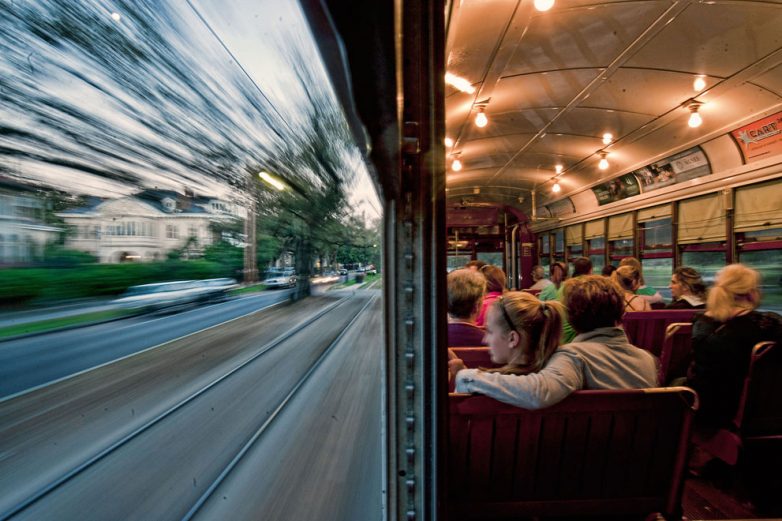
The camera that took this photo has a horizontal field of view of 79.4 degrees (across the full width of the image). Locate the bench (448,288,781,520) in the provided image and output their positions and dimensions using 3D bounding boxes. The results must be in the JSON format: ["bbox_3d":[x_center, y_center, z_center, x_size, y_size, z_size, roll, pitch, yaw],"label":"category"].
[{"bbox_3d":[1.696,1.268,4.560,2.587,1.875,1.752,-1,3,-4],"label":"bench"}]

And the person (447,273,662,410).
[{"bbox_3d":[1.406,0.713,4.085,1.527,0.716,1.107,-6,-17,22],"label":"person"}]
